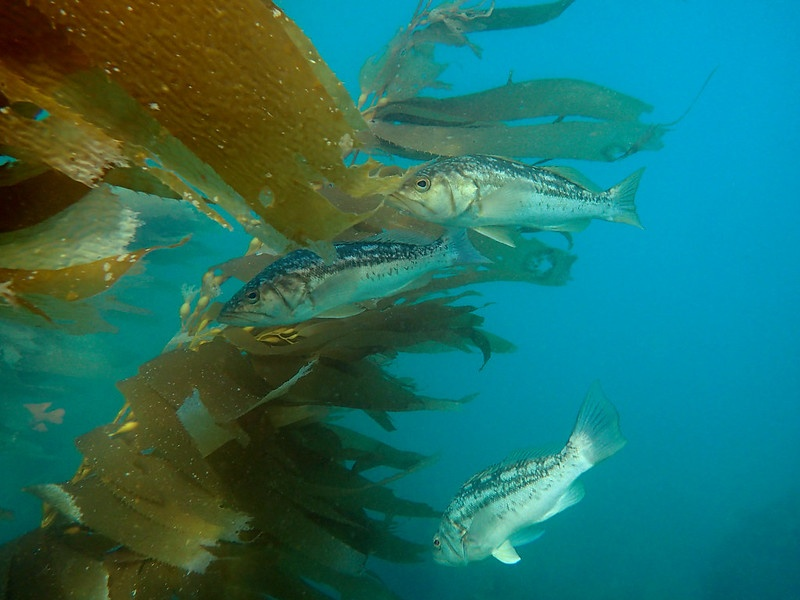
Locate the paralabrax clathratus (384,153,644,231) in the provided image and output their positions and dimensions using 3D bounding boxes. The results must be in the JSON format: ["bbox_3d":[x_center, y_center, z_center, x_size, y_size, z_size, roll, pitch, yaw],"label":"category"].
[{"bbox_3d":[0.354,-0.304,2.171,0.838,0.170,0.227,-1,13,-22],"label":"paralabrax clathratus"}]

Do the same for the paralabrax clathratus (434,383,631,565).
[{"bbox_3d":[0.412,0.638,2.344,0.256,0.843,0.354,25,33,-24],"label":"paralabrax clathratus"}]
